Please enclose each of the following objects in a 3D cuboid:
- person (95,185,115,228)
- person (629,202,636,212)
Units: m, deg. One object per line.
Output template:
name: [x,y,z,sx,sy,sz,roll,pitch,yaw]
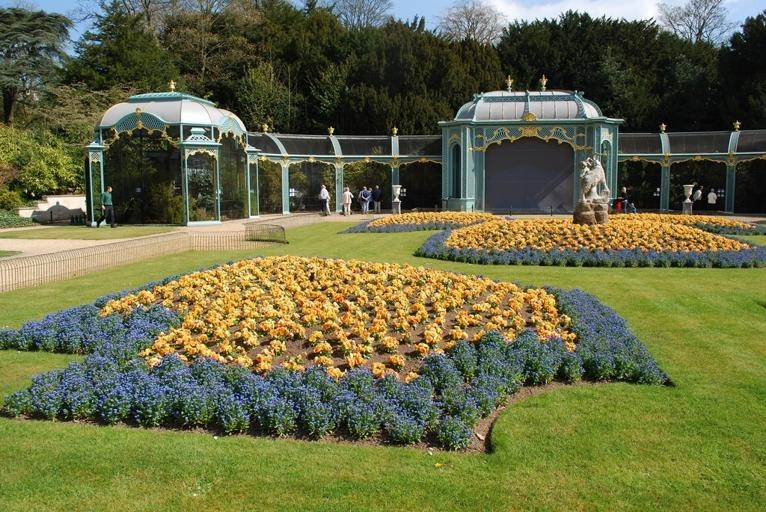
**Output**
person: [-11.826,-2.134,32.743,0.709,1.721,1.268,-2,6,-20]
person: [12.366,-2.405,38.089,0.263,0.313,0.717,-23,8,2]
